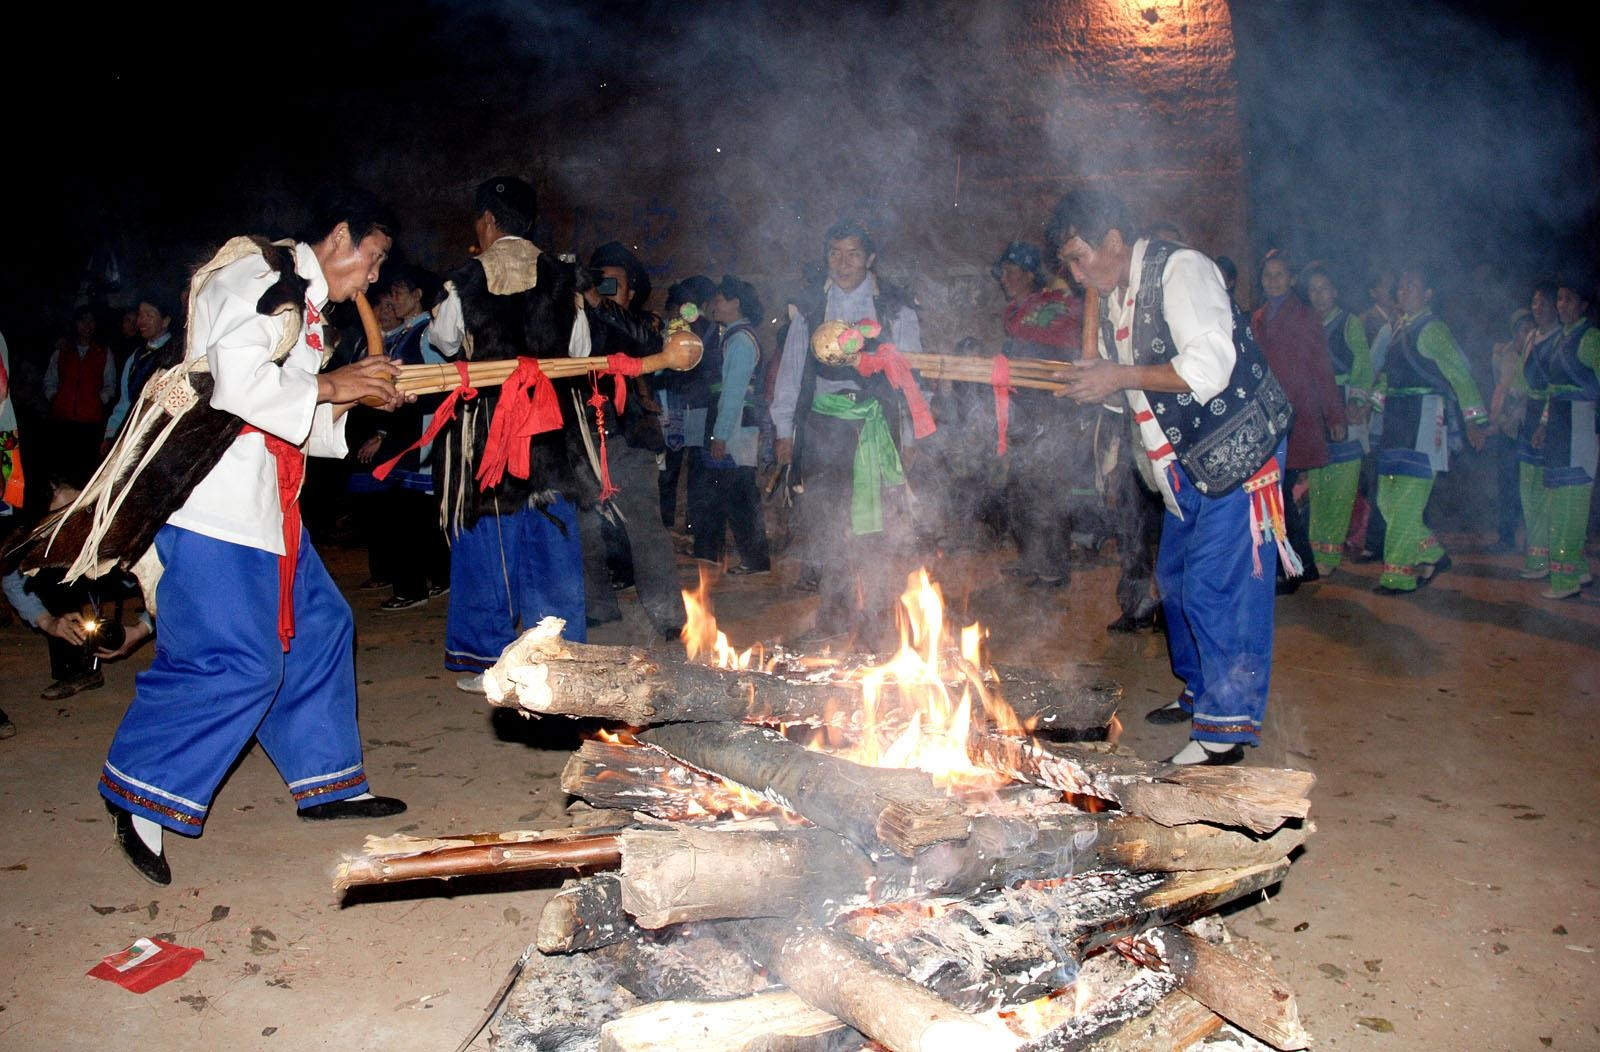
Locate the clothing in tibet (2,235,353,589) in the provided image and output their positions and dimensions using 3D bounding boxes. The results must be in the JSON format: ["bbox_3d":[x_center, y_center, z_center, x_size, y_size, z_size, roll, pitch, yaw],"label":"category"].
[{"bbox_3d":[-3.096,-0.775,5.943,1.320,1.624,1.605,30,28,33],"label":"clothing in tibet"}]

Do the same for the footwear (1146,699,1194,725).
[{"bbox_3d":[2.149,1.095,6.953,0.229,0.088,0.126,-1,9,-21],"label":"footwear"}]

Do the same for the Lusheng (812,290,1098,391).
[{"bbox_3d":[0.472,-1.147,6.973,2.478,0.432,0.580,9,-7,36],"label":"Lusheng"}]

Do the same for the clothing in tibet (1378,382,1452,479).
[{"bbox_3d":[5.098,-0.746,9.891,0.537,0.736,0.246,3,-7,25],"label":"clothing in tibet"}]

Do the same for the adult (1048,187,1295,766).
[{"bbox_3d":[2.113,-0.269,6.531,1.268,3.083,1.243,-4,4,-2],"label":"adult"}]

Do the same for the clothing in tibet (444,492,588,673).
[{"bbox_3d":[-1.624,0.299,6.806,0.930,1.225,0.432,-4,27,-22],"label":"clothing in tibet"}]

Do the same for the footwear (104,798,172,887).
[{"bbox_3d":[-3.075,1.491,5.539,0.428,0.177,0.132,43,22,10],"label":"footwear"}]

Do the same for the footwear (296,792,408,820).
[{"bbox_3d":[-2.237,1.426,5.999,0.520,0.157,0.191,4,-2,-8],"label":"footwear"}]
